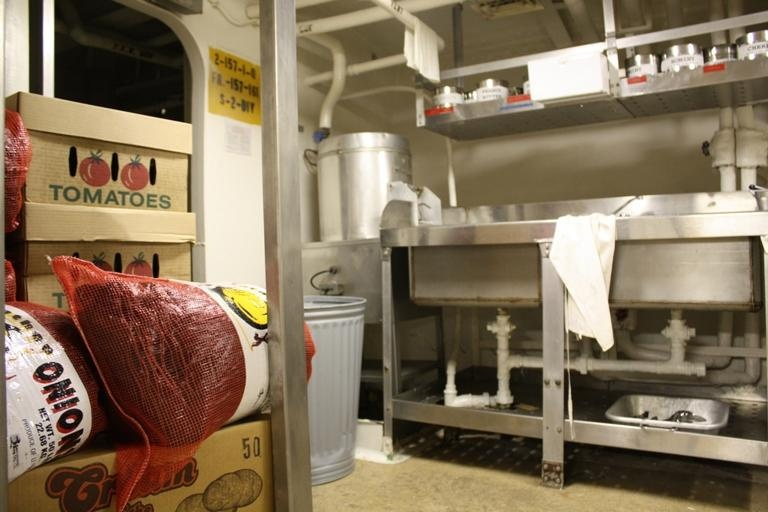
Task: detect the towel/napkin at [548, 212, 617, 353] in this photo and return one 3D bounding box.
[{"bbox_3d":[0.988,0.117,3.148,0.304,0.644,0.131,2,7,25],"label":"towel/napkin"}]

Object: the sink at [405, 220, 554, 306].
[{"bbox_3d":[0.524,0.102,3.486,0.636,0.413,0.456,1,2,23],"label":"sink"}]

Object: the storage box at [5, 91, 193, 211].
[{"bbox_3d":[-1.187,-0.419,2.703,0.563,0.341,0.545,1,1,-45],"label":"storage box"}]

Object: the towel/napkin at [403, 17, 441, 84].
[{"bbox_3d":[0.261,-1.330,4.115,0.131,0.365,0.417,3,8,33],"label":"towel/napkin"}]
